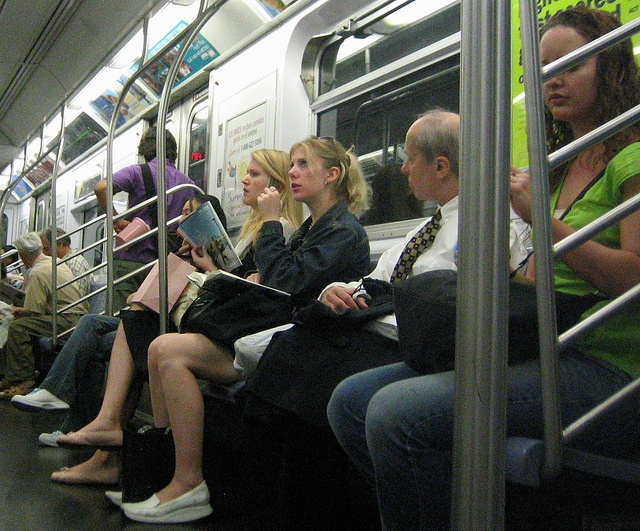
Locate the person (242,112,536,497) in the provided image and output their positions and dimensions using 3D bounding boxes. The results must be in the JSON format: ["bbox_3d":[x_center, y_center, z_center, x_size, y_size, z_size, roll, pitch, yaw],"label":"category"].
[{"bbox_3d":[0.162,0.053,1.982,1.043,1.114,0.728,-6,3,-8],"label":"person"}]

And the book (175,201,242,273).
[{"bbox_3d":[-0.494,-0.121,2.556,0.321,0.308,0.082,-22,18,44],"label":"book"}]

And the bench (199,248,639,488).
[{"bbox_3d":[0.224,0.266,1.410,0.570,0.225,0.977,-1,-10,-39],"label":"bench"}]

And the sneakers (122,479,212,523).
[{"bbox_3d":[-0.536,0.885,2.089,0.347,0.124,0.119,2,-19,-7],"label":"sneakers"}]

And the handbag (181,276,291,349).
[{"bbox_3d":[-0.348,0.189,2.217,0.306,0.144,0.385,4,-11,-34],"label":"handbag"}]
